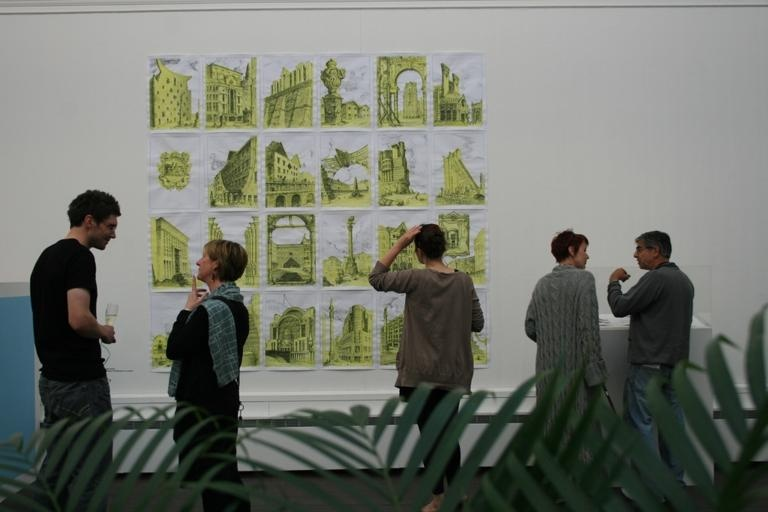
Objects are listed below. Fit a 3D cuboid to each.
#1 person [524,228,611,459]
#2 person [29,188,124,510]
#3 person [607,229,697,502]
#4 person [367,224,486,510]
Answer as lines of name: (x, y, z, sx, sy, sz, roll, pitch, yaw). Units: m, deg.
person: (1.549, 0.566, 7.609, 0.684, 1.559, 0.514, 2, 3, 15)
person: (-2.475, 0.430, 7.126, 0.667, 1.917, 0.411, 1, 3, -16)
person: (2.325, 0.709, 7.913, 0.637, 1.861, 0.476, 4, 4, 43)
person: (0.373, 0.611, 7.553, 0.908, 1.753, 0.441, 2, 3, 7)
